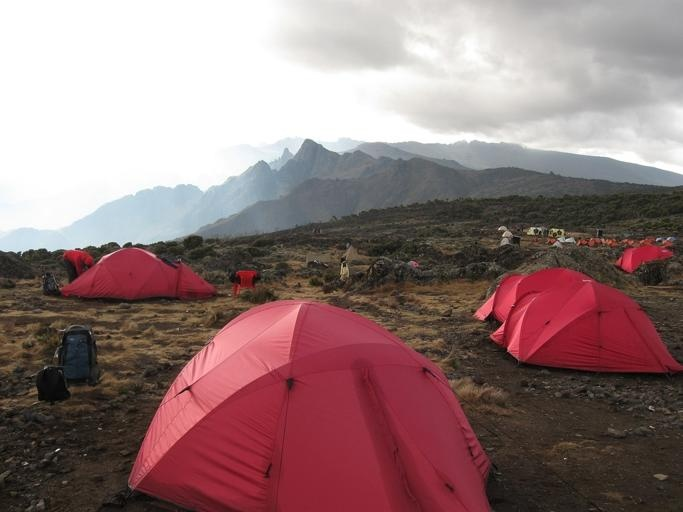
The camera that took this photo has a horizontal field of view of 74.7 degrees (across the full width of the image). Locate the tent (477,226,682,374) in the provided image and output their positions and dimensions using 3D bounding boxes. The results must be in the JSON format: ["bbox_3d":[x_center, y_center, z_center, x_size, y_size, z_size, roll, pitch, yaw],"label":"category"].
[{"bbox_3d":[5.962,1.390,12.404,2.795,1.386,3.668,-5,6,-13],"label":"tent"}]

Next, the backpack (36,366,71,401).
[{"bbox_3d":[-5.913,2.663,9.248,0.641,0.710,0.393,-4,-9,-21],"label":"backpack"}]
